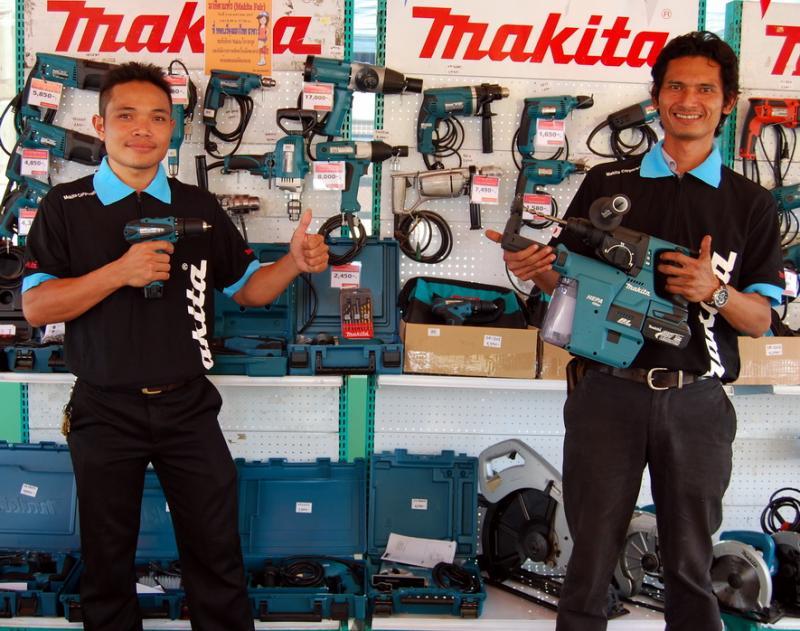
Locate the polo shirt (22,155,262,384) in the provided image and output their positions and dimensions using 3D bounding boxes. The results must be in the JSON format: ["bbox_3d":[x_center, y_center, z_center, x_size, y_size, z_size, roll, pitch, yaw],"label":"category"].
[{"bbox_3d":[-1.003,-0.125,3.217,1.057,1.088,0.765,-2,1,-41],"label":"polo shirt"}]

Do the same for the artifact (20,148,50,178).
[{"bbox_3d":[-1.779,-0.738,3.710,0.125,0.130,0.133,1,-1,-12],"label":"artifact"}]

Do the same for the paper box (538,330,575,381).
[{"bbox_3d":[0.700,0.220,3.439,0.158,0.174,0.041,16,1,2],"label":"paper box"}]

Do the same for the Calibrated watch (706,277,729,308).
[{"bbox_3d":[1.129,-0.068,2.677,0.047,0.083,0.081,18,6,0],"label":"Calibrated watch"}]

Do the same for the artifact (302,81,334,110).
[{"bbox_3d":[-0.399,-1.050,3.586,0.136,0.131,0.033,3,4,-2],"label":"artifact"}]
